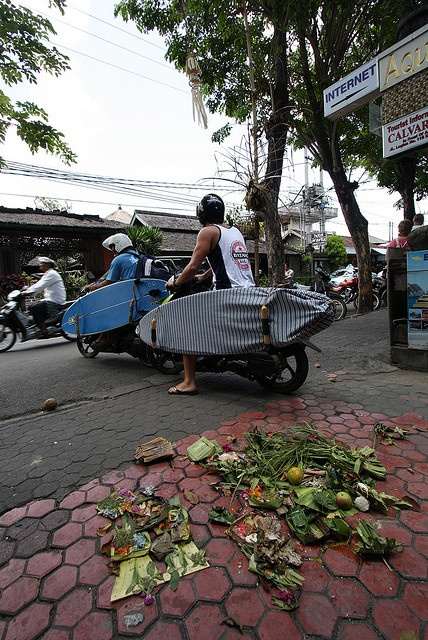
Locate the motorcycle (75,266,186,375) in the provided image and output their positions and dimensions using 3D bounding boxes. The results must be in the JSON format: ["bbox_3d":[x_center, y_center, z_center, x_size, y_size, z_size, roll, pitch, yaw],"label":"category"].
[{"bbox_3d":[-1.280,-0.004,5.486,2.142,1.254,0.918,-14,4,34],"label":"motorcycle"}]

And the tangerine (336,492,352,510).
[{"bbox_3d":[0.590,0.804,1.672,0.053,0.070,0.052,-37,45,-18],"label":"tangerine"}]

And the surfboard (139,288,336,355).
[{"bbox_3d":[-0.095,-0.009,3.425,2.322,0.646,0.557,-3,19,31],"label":"surfboard"}]

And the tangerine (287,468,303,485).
[{"bbox_3d":[0.422,0.789,1.892,0.090,0.064,0.091,-5,7,-7],"label":"tangerine"}]

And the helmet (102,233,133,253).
[{"bbox_3d":[-1.378,-1.032,5.169,0.367,0.223,0.249,-7,5,8],"label":"helmet"}]

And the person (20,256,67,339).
[{"bbox_3d":[-3.564,-0.464,7.734,0.768,1.539,0.793,2,10,-19],"label":"person"}]

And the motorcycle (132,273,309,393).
[{"bbox_3d":[-0.023,0.168,3.723,1.926,1.189,0.959,3,5,19],"label":"motorcycle"}]

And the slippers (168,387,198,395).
[{"bbox_3d":[-0.308,0.693,3.545,0.262,0.063,0.103,2,0,8],"label":"slippers"}]

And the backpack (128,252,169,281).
[{"bbox_3d":[-0.822,-0.672,4.755,0.431,0.184,0.305,7,5,-4],"label":"backpack"}]

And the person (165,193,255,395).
[{"bbox_3d":[-0.030,-0.267,3.453,0.862,1.748,0.895,4,8,38],"label":"person"}]
